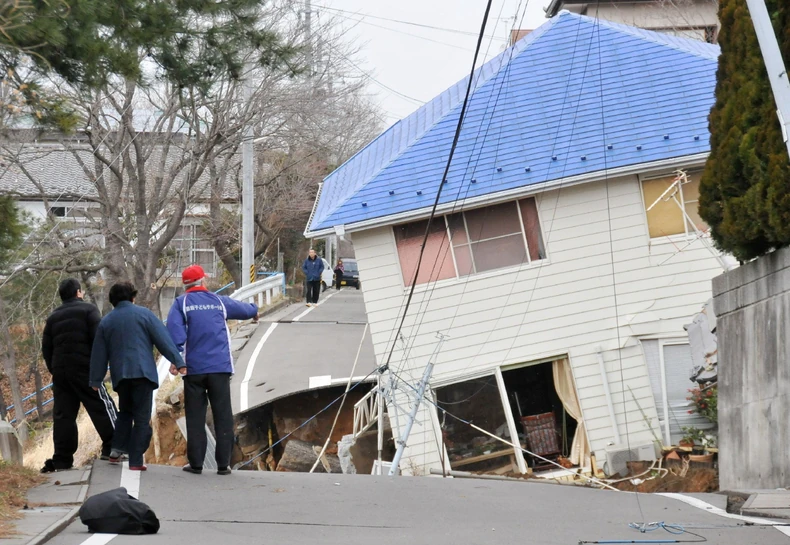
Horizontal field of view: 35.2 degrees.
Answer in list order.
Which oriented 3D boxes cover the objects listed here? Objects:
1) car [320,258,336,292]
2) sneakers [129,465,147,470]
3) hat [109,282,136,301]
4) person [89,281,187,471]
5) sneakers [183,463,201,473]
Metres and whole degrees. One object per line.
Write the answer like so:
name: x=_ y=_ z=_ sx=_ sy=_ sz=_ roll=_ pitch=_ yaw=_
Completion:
car: x=-2.885 y=0.108 z=53.685 sx=0.977 sy=0.850 sz=1.594 roll=0 pitch=14 yaw=1
sneakers: x=-4.050 y=3.018 z=19.580 sx=0.208 sy=0.091 sz=0.090 roll=0 pitch=5 yaw=-11
hat: x=-4.319 y=0.280 z=19.742 sx=0.296 sy=0.342 sz=0.348 roll=1 pitch=6 yaw=-2
person: x=-4.116 y=1.612 z=19.563 sx=1.424 sy=2.898 sz=0.611 roll=3 pitch=6 yaw=-2
sneakers: x=-3.244 y=3.100 z=19.909 sx=0.307 sy=0.144 sz=0.125 roll=13 pitch=11 yaw=35
